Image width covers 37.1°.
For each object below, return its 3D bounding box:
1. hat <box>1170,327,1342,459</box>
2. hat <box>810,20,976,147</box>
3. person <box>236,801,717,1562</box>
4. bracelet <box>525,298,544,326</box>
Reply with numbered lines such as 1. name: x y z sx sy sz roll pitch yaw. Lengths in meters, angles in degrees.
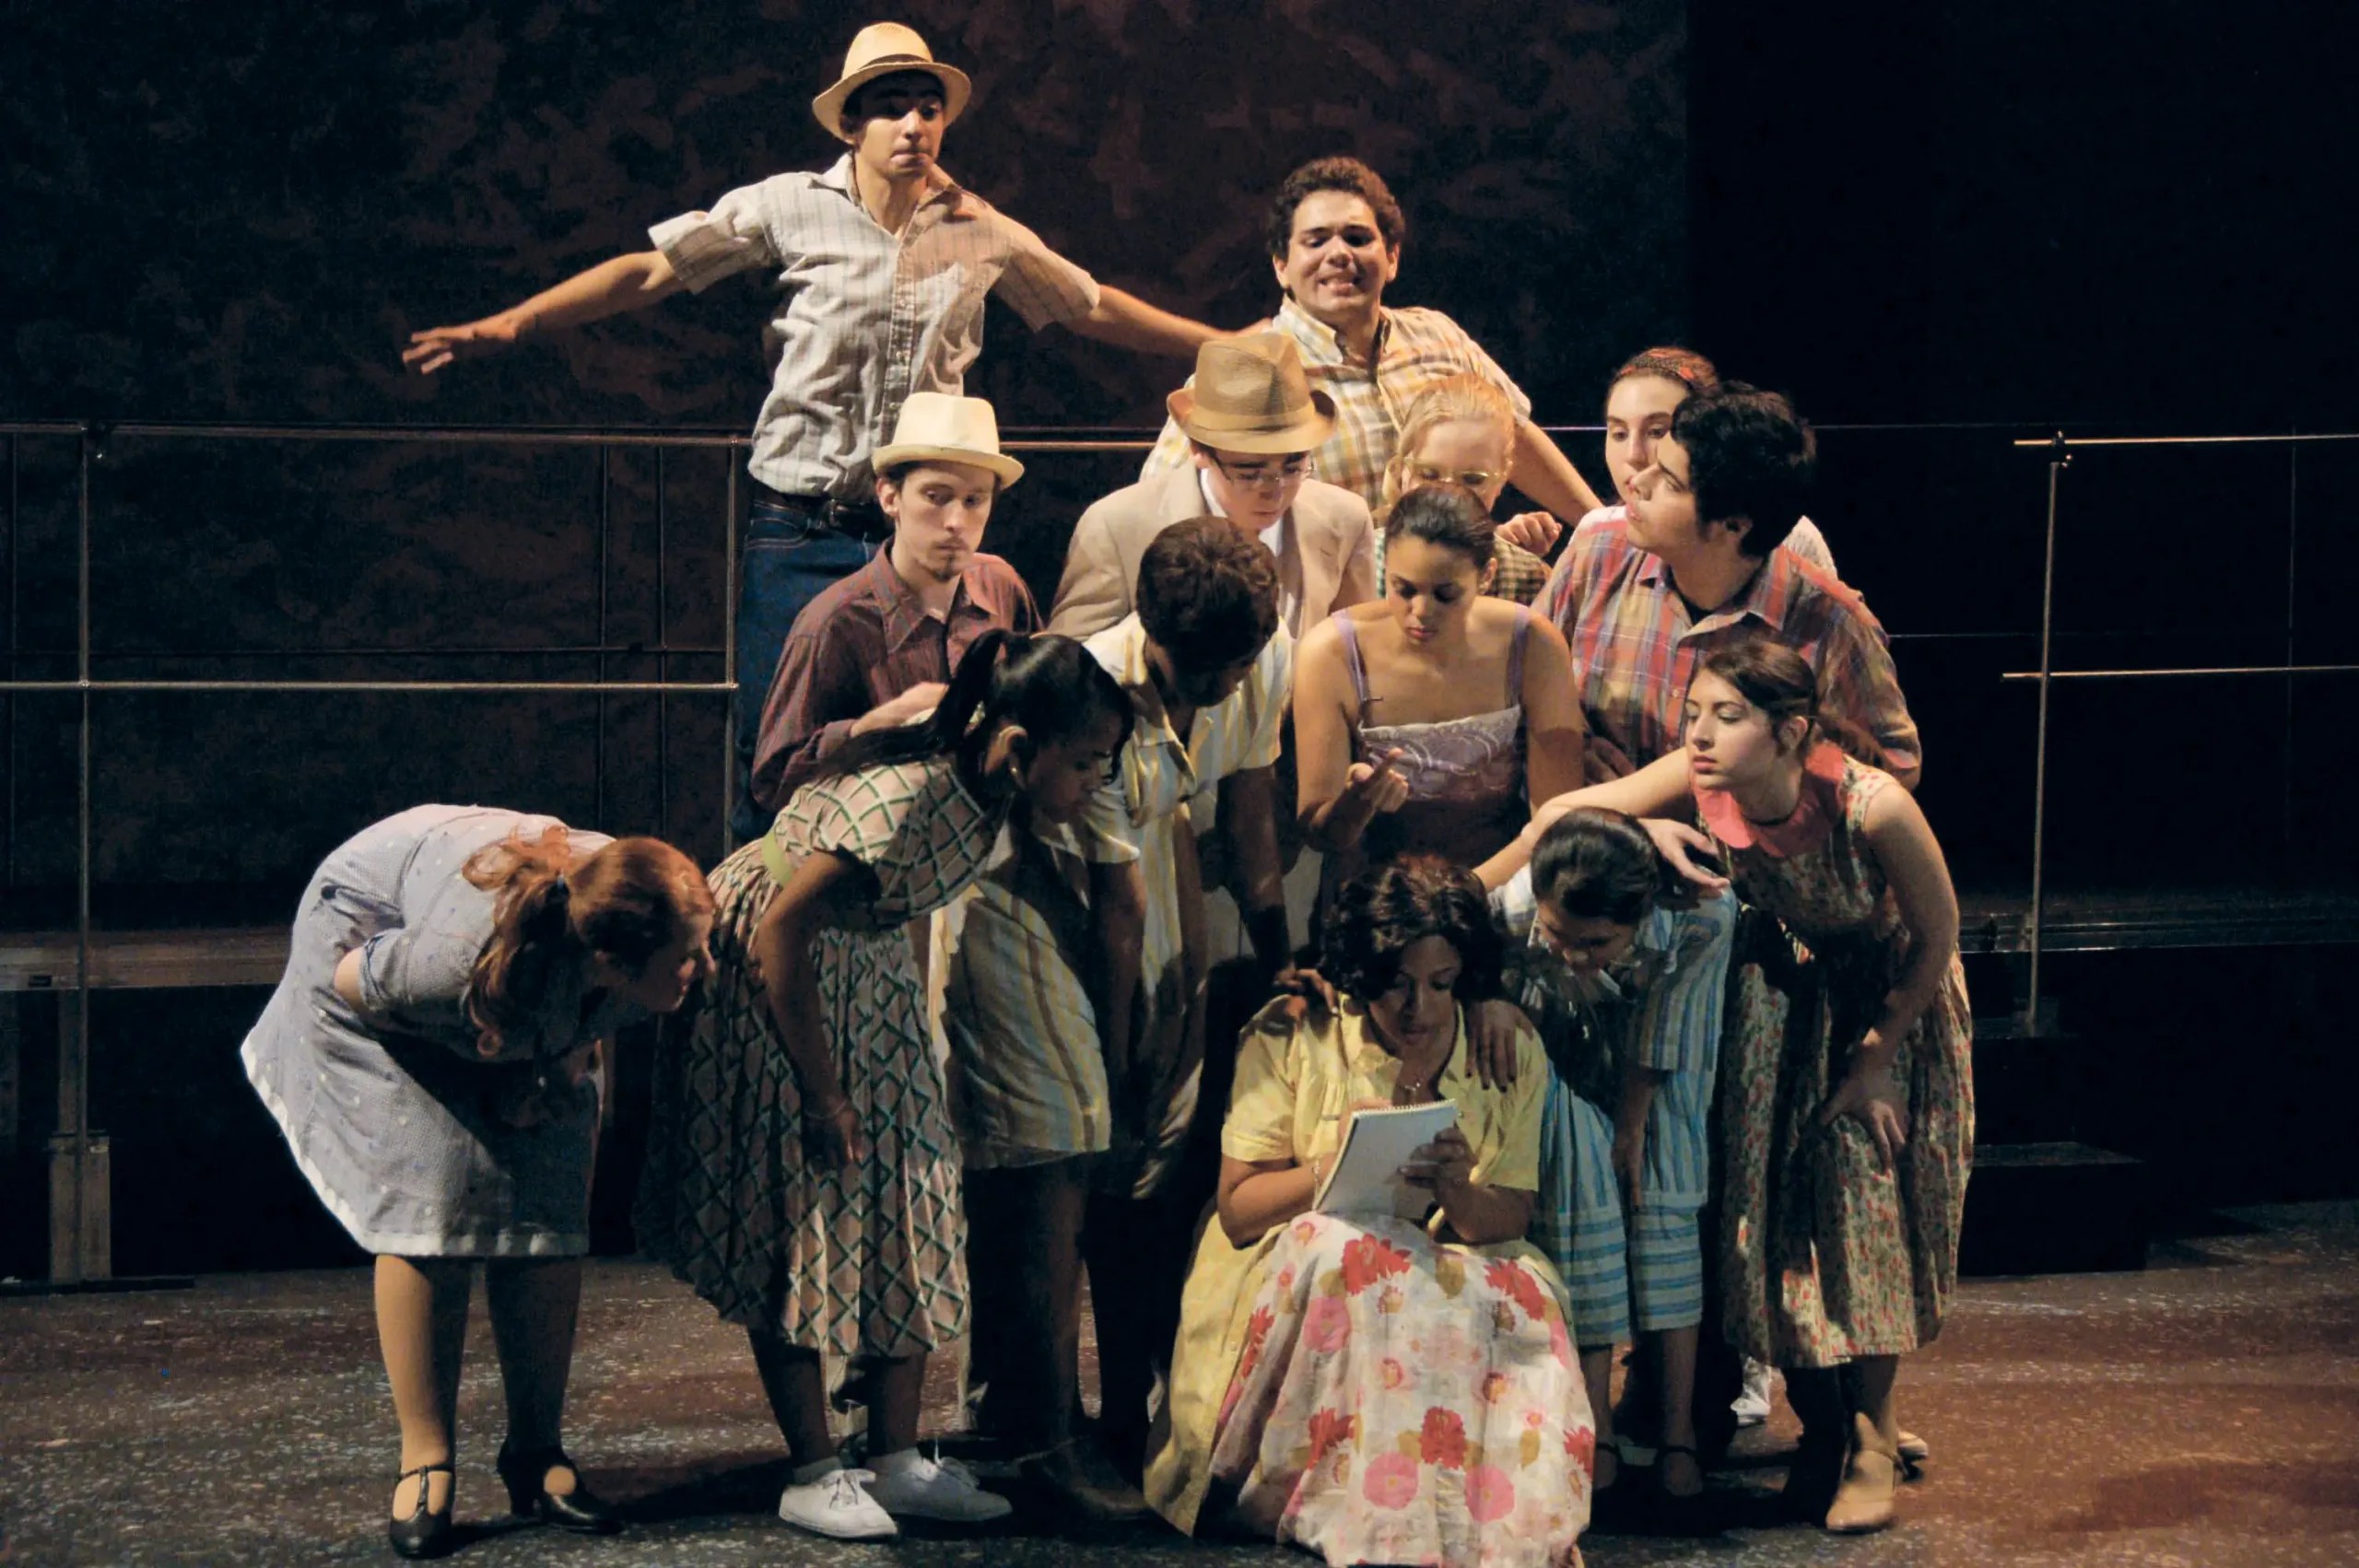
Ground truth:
1. hat: 0.187 -0.988 8.661 0.445 0.207 0.575 -6 20 -10
2. hat: -0.804 -1.906 9.244 0.400 0.180 0.439 -7 -11 -17
3. person: -1.585 0.878 7.910 1.063 1.679 0.443 0 -3 -1
4. bracelet: -1.666 -1.214 9.072 0.041 0.053 0.015 8 -3 21
